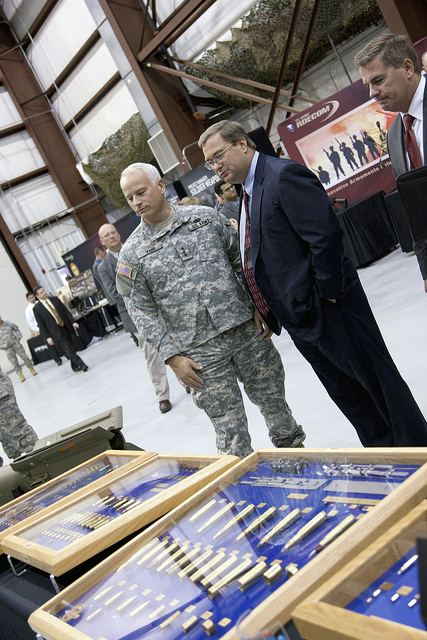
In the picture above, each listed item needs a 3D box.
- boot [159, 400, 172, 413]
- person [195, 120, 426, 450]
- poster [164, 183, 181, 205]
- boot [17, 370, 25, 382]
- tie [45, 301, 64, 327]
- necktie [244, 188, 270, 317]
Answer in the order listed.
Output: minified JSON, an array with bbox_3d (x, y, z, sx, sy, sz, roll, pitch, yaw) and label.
[{"bbox_3d":[-0.451,0.816,4.192,0.091,0.115,0.122,-4,-14,-6],"label":"boot"},{"bbox_3d":[0.378,-0.135,1.670,0.326,1.148,0.412,-34,9,-21],"label":"person"},{"bbox_3d":[-0.984,-2.987,10.357,0.275,0.495,0.803,-30,8,4],"label":"poster"},{"bbox_3d":[-5.010,1.446,11.409,0.143,0.333,0.523,-34,9,-23],"label":"boot"},{"bbox_3d":[-3.082,-0.153,8.522,0.107,0.600,0.025,-26,-12,-44],"label":"tie"},{"bbox_3d":[0.148,-0.248,1.745,0.095,0.429,0.127,-3,15,-8],"label":"necktie"}]
